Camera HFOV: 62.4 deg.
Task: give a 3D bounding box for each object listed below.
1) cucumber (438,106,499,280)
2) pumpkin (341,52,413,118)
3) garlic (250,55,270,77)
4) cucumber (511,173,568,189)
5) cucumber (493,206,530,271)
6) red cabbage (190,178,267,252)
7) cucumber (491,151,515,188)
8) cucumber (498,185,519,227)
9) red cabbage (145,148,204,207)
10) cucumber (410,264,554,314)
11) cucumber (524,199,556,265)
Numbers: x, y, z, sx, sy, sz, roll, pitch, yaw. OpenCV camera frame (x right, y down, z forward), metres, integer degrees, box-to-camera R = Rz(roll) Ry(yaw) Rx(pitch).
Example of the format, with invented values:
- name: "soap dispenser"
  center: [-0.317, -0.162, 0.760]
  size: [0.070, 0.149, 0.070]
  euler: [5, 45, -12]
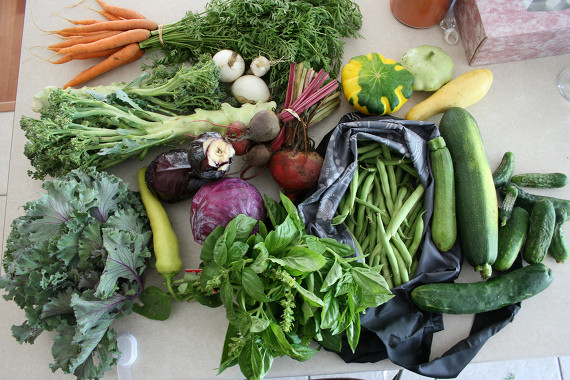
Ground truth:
- name: "cucumber"
  center: [0.669, 0.013, 1.761]
  size: [0.174, 0.590, 0.165]
  euler: [-13, -12, 21]
- name: "pumpkin"
  center: [0.350, -0.409, 1.802]
  size: [0.263, 0.228, 0.081]
  euler: [3, 6, 5]
- name: "garlic"
  center: [-0.091, -0.474, 1.800]
  size: [0.072, 0.068, 0.039]
  euler: [-1, 11, -5]
- name: "cucumber"
  center: [0.958, -0.036, 1.815]
  size: [0.234, 0.070, 0.072]
  euler: [-1, 1, 3]
- name: "cucumber"
  center: [0.818, 0.177, 1.741]
  size: [0.107, 0.233, 0.082]
  euler: [25, -10, -28]
- name: "red cabbage"
  center: [-0.202, 0.077, 1.710]
  size: [0.277, 0.241, 0.109]
  euler: [1, 6, -12]
- name: "cucumber"
  center: [0.833, -0.075, 1.818]
  size: [0.078, 0.149, 0.050]
  euler: [23, -13, 19]
- name: "cucumber"
  center: [0.814, 0.053, 1.715]
  size: [0.055, 0.168, 0.050]
  euler: [15, -5, -18]
- name: "red cabbage"
  center: [-0.413, -0.050, 1.728]
  size: [0.167, 0.208, 0.251]
  euler: [19, 31, 32]
- name: "cucumber"
  center: [0.689, 0.343, 1.643]
  size: [0.479, 0.184, 0.049]
  euler: [2, 6, 0]
- name: "cucumber"
  center: [0.919, 0.151, 1.706]
  size: [0.103, 0.230, 0.083]
  euler: [7, 3, 9]
